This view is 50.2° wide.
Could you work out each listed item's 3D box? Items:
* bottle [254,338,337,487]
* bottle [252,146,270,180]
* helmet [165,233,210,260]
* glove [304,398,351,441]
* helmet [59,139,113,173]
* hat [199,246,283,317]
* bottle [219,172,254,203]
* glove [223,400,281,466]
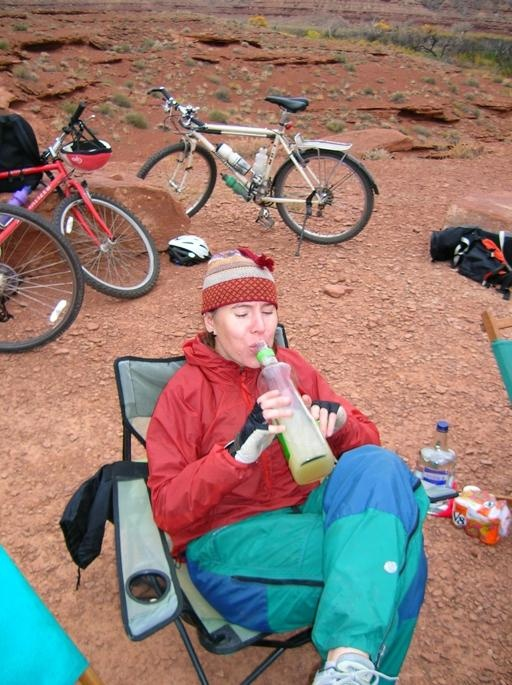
[{"bbox_3d":[0.121,0.208,1.623,0.167,0.292,0.338,-8,39,-16],"label":"bottle"},{"bbox_3d":[0.051,-1.663,4.952,0.159,0.298,0.412,4,37,-1],"label":"bottle"},{"bbox_3d":[-0.566,-0.818,4.595,0.293,0.102,0.201,22,22,-12],"label":"helmet"},{"bbox_3d":[0.220,0.245,1.702,0.113,0.146,0.047,5,58,9],"label":"glove"},{"bbox_3d":[-1.158,-1.257,3.760,0.283,0.189,0.205,3,42,-11],"label":"helmet"},{"bbox_3d":[-0.059,-0.208,1.812,0.230,0.189,0.228,-9,12,-40],"label":"hat"},{"bbox_3d":[-0.165,-1.445,5.043,0.282,0.225,0.151,1,37,-4],"label":"bottle"},{"bbox_3d":[-0.003,0.248,1.461,0.167,0.162,0.064,26,19,-9],"label":"glove"}]
